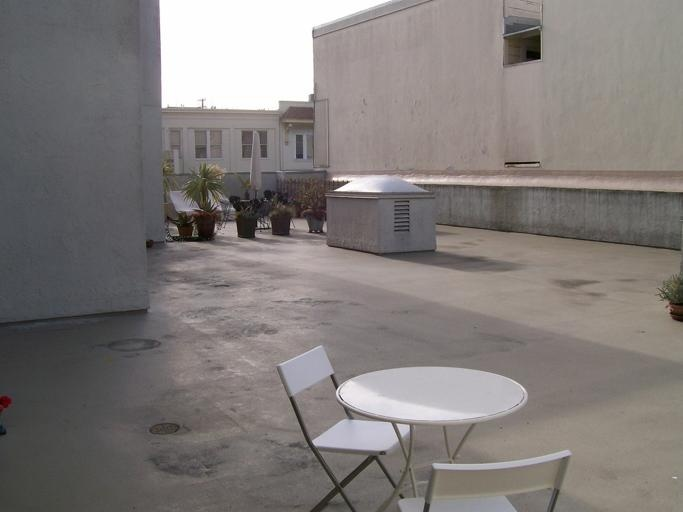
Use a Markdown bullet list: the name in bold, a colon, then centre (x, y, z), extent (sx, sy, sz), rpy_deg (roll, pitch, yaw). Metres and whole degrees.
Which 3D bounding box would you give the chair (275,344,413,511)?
- **chair**: centre (0.033, 1.123, 3.856), extent (0.897, 1.384, 0.806), rpy_deg (1, 5, 19)

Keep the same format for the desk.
- **desk**: centre (0.535, 0.837, 3.243), extent (0.869, 0.669, 0.936), rpy_deg (-1, 7, -4)
